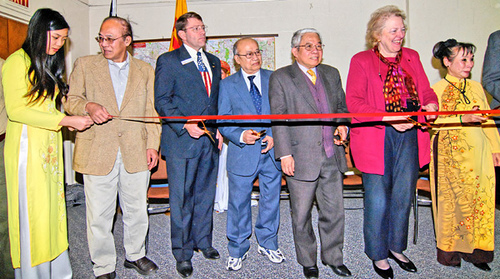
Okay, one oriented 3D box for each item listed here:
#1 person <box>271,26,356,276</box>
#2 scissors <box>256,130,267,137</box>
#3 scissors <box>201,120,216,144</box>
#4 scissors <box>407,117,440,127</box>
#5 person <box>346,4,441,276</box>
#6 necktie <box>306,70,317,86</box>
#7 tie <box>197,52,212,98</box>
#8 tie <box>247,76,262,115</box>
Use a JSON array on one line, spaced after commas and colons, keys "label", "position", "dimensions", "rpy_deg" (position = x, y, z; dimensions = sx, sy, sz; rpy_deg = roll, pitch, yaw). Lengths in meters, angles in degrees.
[{"label": "person", "position": [0.682, 0.142, 4.359], "dimensions": [0.855, 2.702, 0.420], "rpy_deg": [-2, 2, 2]}, {"label": "scissors", "position": [0.119, -0.069, 4.382], "dimensions": [0.058, 0.060, 0.190], "rpy_deg": [-1, 3, 17]}, {"label": "scissors", "position": [-0.478, -0.091, 4.461], "dimensions": [0.039, 0.282, 0.084], "rpy_deg": [-41, -2, -25]}, {"label": "scissors", "position": [1.845, -0.195, 4.288], "dimensions": [0.377, 0.054, 0.049], "rpy_deg": [6, -37, -17]}, {"label": "person", "position": [1.526, 0.015, 4.342], "dimensions": [0.981, 2.913, 0.504], "rpy_deg": [-2, 2, 2]}, {"label": "necktie", "position": [0.672, -0.679, 4.351], "dimensions": [0.100, 0.157, 0.030], "rpy_deg": [-2, 2, -5]}, {"label": "tie", "position": [-0.524, -0.746, 4.565], "dimensions": [0.109, 0.588, 0.068], "rpy_deg": [-15, -8, -26]}, {"label": "tie", "position": [0.041, -0.498, 4.536], "dimensions": [0.135, 0.435, 0.070], "rpy_deg": [-14, 0, -7]}]
